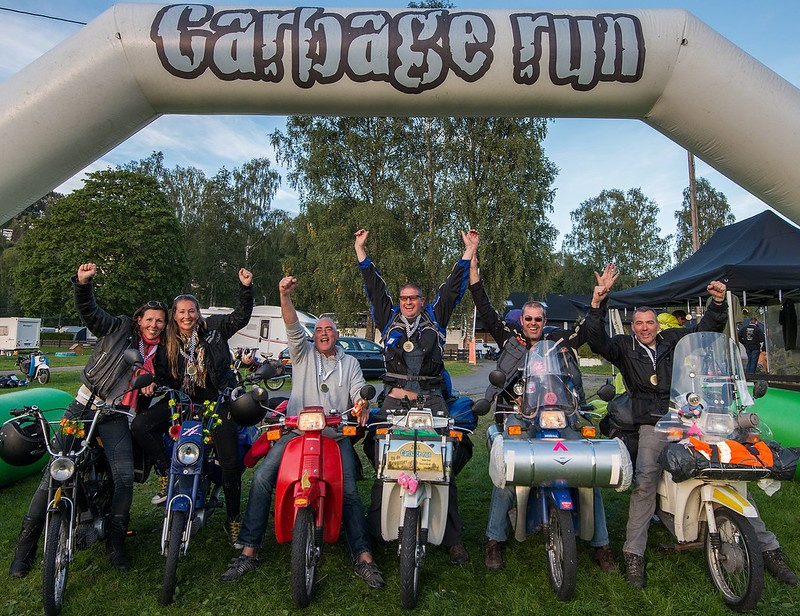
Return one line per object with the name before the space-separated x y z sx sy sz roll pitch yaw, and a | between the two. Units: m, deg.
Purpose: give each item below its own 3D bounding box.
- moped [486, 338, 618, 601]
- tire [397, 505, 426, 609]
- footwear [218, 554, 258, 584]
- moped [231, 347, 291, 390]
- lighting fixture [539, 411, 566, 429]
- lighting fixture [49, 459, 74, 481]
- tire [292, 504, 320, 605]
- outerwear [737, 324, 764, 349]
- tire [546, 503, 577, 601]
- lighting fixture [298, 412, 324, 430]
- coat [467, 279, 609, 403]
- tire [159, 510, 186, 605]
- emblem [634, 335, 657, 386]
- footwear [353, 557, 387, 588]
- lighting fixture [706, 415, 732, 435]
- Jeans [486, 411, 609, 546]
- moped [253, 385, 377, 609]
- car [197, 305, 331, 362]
moped | 1.353 1.364 4.771 1.126 2.108 1.029 0 1 10
tire | 0.112 2.067 4.492 0.226 0.769 0.715 3 1 2
footwear | -1.451 2.306 4.845 0.112 0.146 0.329 3 0 36
moped | -2.705 1.083 10.218 1.134 0.908 0.554 5 -7 -18
lighting fixture | 1.322 0.947 4.625 0.216 0.154 0.100 0 1 8
lighting fixture | -2.786 1.309 4.445 0.156 0.198 0.042 6 -7 -3
tire | -0.775 2.018 4.464 0.169 0.837 0.400 0 1 10
outerwear | 8.719 0.700 13.339 0.530 0.720 0.360 -1 0 38
tire | 1.371 2.025 4.568 0.206 0.812 0.481 0 1 -2
lighting fixture | -0.741 0.952 4.544 0.230 0.158 0.065 0 1 -10
coat | 1.345 0.409 5.506 0.698 1.024 1.649 5 -18 -1
tire | -1.896 2.090 4.510 0.126 0.707 0.238 8 -7 1
emblem | 2.472 0.536 5.342 0.169 0.389 0.078 -2 -9 -1
footwear | -0.268 2.340 4.806 0.118 0.132 0.308 12 -10 -31
lighting fixture | 2.737 0.980 4.574 0.166 0.171 0.062 -2 -7 4
Jeans | 1.304 1.781 5.190 0.632 1.000 1.454 0 -8 -5
moped | -0.719 1.562 4.811 0.835 1.740 0.753 -1 1 -39
car | -6.539 0.966 25.607 5.268 3.193 2.376 9 20 1
